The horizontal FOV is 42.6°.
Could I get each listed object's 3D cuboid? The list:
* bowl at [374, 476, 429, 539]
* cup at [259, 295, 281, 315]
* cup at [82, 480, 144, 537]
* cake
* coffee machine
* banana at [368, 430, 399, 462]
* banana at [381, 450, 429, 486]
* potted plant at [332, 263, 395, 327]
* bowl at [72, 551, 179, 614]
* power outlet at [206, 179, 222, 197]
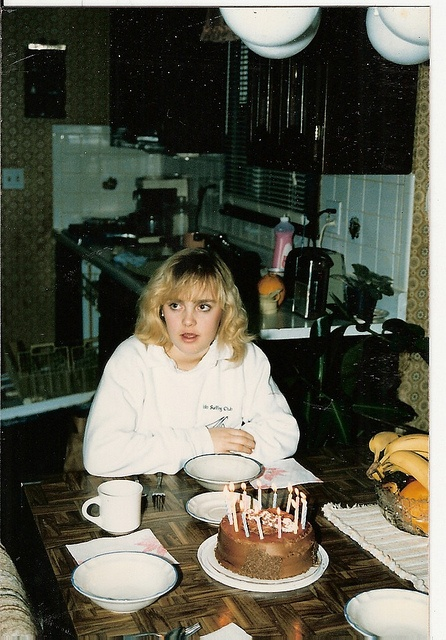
[{"bbox_3d":[0.306,0.312,0.966,0.079,0.054,0.083,2,3,0],"label":"bowl"},{"bbox_3d":[0.199,-0.064,2.434,0.084,0.073,0.079,0,2,0],"label":"cup"},{"bbox_3d":[-0.180,0.303,0.914,0.098,0.062,0.059,1,2,-14],"label":"cup"},{"bbox_3d":[0.060,0.295,0.826,0.144,0.085,0.141,2,5,17],"label":"cake"},{"bbox_3d":[-0.347,-0.756,3.816,0.413,0.373,0.409,4,15,18],"label":"coffee machine"},{"bbox_3d":[0.305,0.237,1.111,0.039,0.027,0.066,27,24,7],"label":"banana"},{"bbox_3d":[0.304,0.243,0.953,0.018,0.042,0.054,-44,21,-5],"label":"banana"},{"bbox_3d":[0.587,-0.098,2.409,0.291,0.197,0.258,5,1,34],"label":"potted plant"},{"bbox_3d":[-0.124,0.335,0.723,0.131,0.037,0.120,2,6,0],"label":"bowl"},{"bbox_3d":[-0.052,-0.864,3.689,0.097,0.082,0.023,3,13,21],"label":"power outlet"}]
